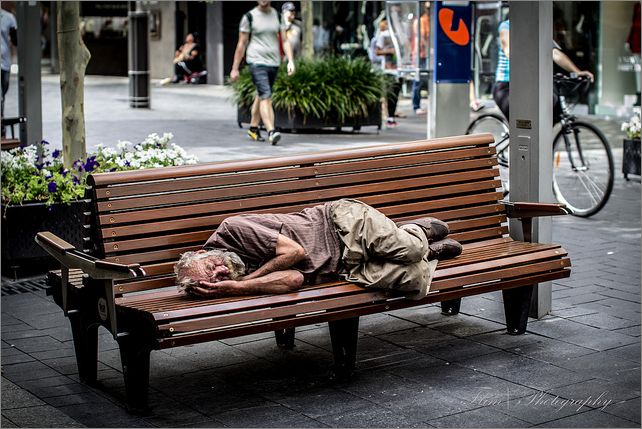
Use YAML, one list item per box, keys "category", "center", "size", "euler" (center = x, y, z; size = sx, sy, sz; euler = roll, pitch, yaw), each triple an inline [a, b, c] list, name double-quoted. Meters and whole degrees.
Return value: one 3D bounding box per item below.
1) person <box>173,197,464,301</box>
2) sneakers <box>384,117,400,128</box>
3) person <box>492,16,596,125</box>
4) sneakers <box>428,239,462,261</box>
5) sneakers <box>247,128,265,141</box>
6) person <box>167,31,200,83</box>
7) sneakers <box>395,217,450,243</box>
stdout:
- category: "person"
  center: [-0.114, 0.267, 4.758]
  size: [1.397, 0.434, 0.852]
  euler: [-11, 9, -41]
- category: "sneakers"
  center: [1.665, -2.312, 16.532]
  size: [0.166, 0.198, 0.489]
  euler: [3, 12, 16]
- category: "person"
  center: [2.807, -1.924, 9.007]
  size: [1.048, 1.387, 1.240]
  euler: [1, 11, 13]
- category: "sneakers"
  center: [0.966, 0.280, 5.397]
  size: [0.348, 0.118, 0.144]
  euler: [-8, 30, -15]
- category: "sneakers"
  center: [-1.279, -1.719, 14.213]
  size: [0.517, 0.219, 0.174]
  euler: [17, 25, 36]
- category: "person"
  center: [-4.579, -5.547, 23.292]
  size: [1.214, 1.611, 1.228]
  euler: [5, 23, 20]
- category: "sneakers"
  center: [0.814, 0.092, 5.401]
  size: [0.504, 0.161, 0.211]
  euler: [-12, 24, -44]
